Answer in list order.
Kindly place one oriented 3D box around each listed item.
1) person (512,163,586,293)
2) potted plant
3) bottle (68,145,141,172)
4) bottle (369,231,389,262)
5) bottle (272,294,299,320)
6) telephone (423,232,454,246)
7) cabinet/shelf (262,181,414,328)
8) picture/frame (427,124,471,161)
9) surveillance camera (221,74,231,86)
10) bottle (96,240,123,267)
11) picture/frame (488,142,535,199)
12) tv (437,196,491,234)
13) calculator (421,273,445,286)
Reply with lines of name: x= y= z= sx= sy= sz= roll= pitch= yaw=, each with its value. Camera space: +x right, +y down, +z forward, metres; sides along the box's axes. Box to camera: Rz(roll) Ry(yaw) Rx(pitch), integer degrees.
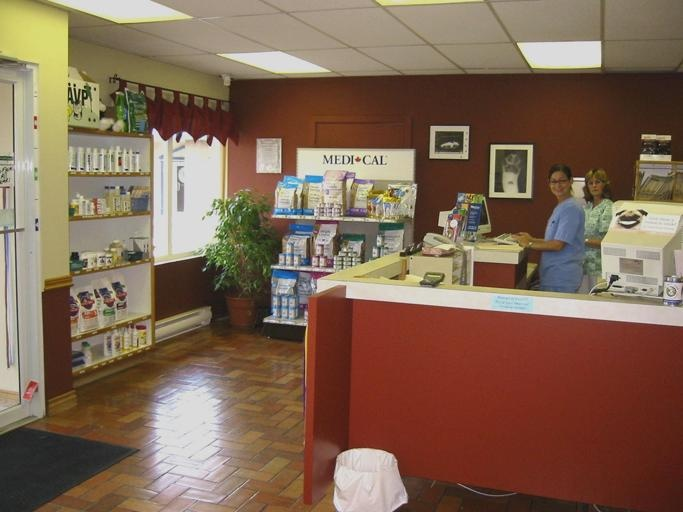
person: x=1.856 y=-0.233 z=4.849 sx=0.538 sy=1.123 sz=0.387 roll=4 pitch=9 yaw=20
potted plant: x=-1.472 y=0.081 z=7.686 sx=1.109 sy=1.941 sz=1.029 roll=-4 pitch=1 yaw=-3
bottle: x=-2.347 y=-0.958 z=5.512 sx=0.207 sy=0.255 sz=0.903 roll=4 pitch=10 yaw=17
bottle: x=0.469 y=-0.122 z=6.730 sx=0.209 sy=0.307 sz=0.137 roll=-3 pitch=10 yaw=-24
bottle: x=-0.692 y=0.584 z=7.145 sx=0.375 sy=0.379 sz=0.277 roll=3 pitch=5 yaw=17
telephone: x=0.695 y=-0.117 z=3.946 sx=0.180 sy=0.076 sz=0.180 roll=11 pitch=13 yaw=43
cabinet/shelf: x=-0.019 y=-0.100 z=5.600 sx=1.776 sy=1.976 sz=0.583 roll=2 pitch=1 yaw=20
picture/frame: x=1.382 y=-1.442 z=6.959 sx=0.447 sy=0.388 sz=0.037 roll=3 pitch=7 yaw=10
surveillance camera: x=-1.574 y=-2.351 z=7.521 sx=0.117 sy=0.127 sz=0.213 roll=-2 pitch=5 yaw=-4
bottle: x=-2.372 y=-0.019 z=5.711 sx=0.171 sy=0.313 sz=0.292 roll=-2 pitch=-7 yaw=33
picture/frame: x=2.113 y=-1.070 z=6.787 sx=0.657 sy=0.910 sz=0.062 roll=1 pitch=3 yaw=15
tv: x=1.127 y=-0.359 z=5.048 sx=0.474 sy=0.372 sz=0.477 roll=-1 pitch=5 yaw=9
calculator: x=0.483 y=0.122 z=2.920 sx=0.099 sy=0.046 sz=0.209 roll=5 pitch=10 yaw=19
